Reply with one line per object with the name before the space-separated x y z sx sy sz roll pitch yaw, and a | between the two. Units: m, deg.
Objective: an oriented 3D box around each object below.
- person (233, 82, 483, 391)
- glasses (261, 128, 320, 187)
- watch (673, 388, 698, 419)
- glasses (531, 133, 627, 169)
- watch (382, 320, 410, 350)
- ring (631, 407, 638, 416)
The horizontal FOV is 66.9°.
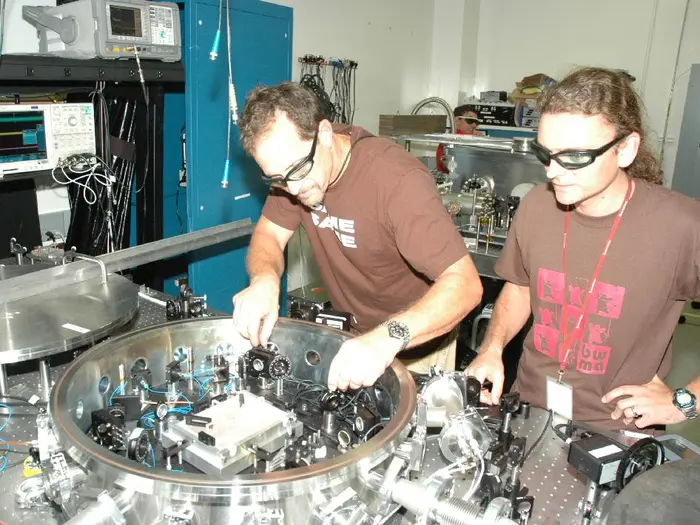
person | -0.060 -0.128 1.947 0.824 1.012 1.015 -13 22 -37
glasses | -0.194 -0.330 1.804 0.053 0.187 0.170 34 -33 -29
watch | 1.068 0.450 1.690 0.050 0.074 0.075 -19 35 5
glasses | 0.748 -0.372 1.736 0.302 0.110 0.192 9 20 24
watch | 0.149 0.224 1.642 0.054 0.088 0.084 -33 63 -27
ring | 0.894 0.469 1.668 0.019 0.020 0.020 -1 -20 0
